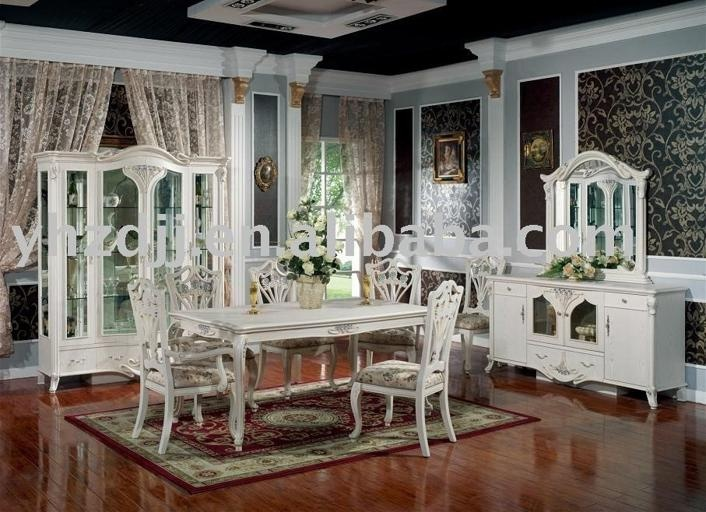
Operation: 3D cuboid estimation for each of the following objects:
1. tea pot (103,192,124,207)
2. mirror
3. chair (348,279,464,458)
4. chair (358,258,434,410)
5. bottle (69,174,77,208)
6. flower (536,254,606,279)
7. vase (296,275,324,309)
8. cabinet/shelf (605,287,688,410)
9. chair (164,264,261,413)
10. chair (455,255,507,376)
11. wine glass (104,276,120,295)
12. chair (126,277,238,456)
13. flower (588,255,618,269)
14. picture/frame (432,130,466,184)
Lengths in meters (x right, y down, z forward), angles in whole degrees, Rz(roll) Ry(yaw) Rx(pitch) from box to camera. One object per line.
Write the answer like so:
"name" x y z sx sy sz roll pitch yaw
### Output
"tea pot" -2.470 -0.577 5.354 0.117 0.126 0.160 -4 -5 42
"mirror" 2.533 -0.373 5.329 0.236 1.528 1.529 2 -1 -36
"chair" 0.396 0.806 3.920 0.722 1.137 0.622 -2 -4 33
"chair" 0.359 0.691 5.351 0.659 1.134 0.718 2 12 20
"bottle" -2.794 -0.663 5.191 0.064 0.332 0.014 -1 3 -29
"flower" 2.219 0.116 5.371 0.553 0.261 0.260 2 3 44
"vase" -0.355 0.316 4.517 0.279 0.273 0.273 4 -6 -10
"cabinet/shelf" 2.767 0.825 4.805 0.738 1.064 0.377 0 2 -10
"chair" -1.153 0.663 4.919 0.906 1.271 0.836 -12 -8 35
"chair" 1.393 0.742 6.549 0.900 1.328 0.895 -6 -8 30
"wine glass" -2.500 0.304 5.366 0.210 0.189 0.111 2 -4 -42
"chair" -1.243 0.819 3.917 0.869 1.053 0.830 2 -6 -5
"flower" 2.542 0.062 5.256 0.182 0.084 0.177 4 7 14
"picture/frame" 1.334 -1.340 7.172 0.031 0.687 0.538 -2 3 -44
